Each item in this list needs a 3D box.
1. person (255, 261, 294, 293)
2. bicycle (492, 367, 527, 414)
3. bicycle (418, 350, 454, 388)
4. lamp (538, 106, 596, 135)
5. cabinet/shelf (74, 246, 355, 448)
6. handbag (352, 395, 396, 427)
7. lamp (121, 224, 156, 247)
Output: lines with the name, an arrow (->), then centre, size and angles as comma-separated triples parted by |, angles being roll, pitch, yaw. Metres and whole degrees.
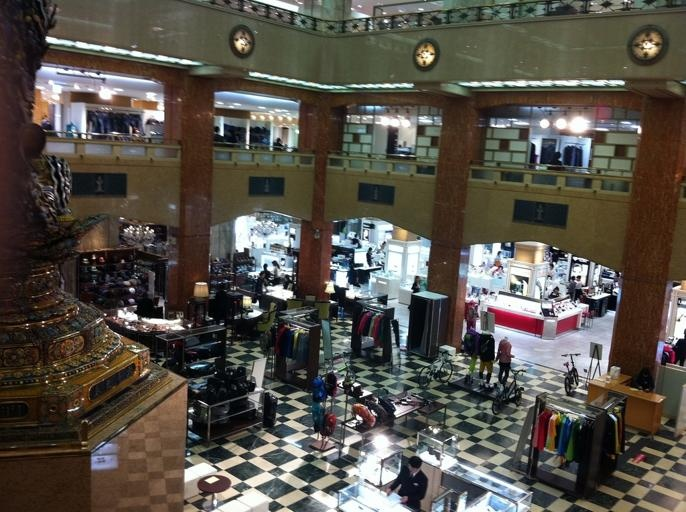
person -> -2.572, 0.937, 19.515 | 1.334, 1.310, 1.299 | -7, 26, -26
bicycle -> 3.826, 3.279, 12.863 | 0.718, 0.713, 1.392 | 4, 0, 36
bicycle -> 2.412, 2.976, 13.705 | 1.279, 0.624, 0.662 | -16, 22, -40
lamp -> 6.178, -3.599, 14.258 | 1.482, 0.786, 0.356 | 12, 6, 43
cabinet/shelf -> -4.633, 2.546, 13.649 | 6.355, 1.568, 4.164 | 13, 18, 32
handbag -> 0.518, 2.949, 10.147 | 0.728, 0.265, 0.547 | -2, -9, 38
lamp -> -6.613, -0.668, 17.216 | 1.087, 0.686, 0.480 | 0, 16, -21
